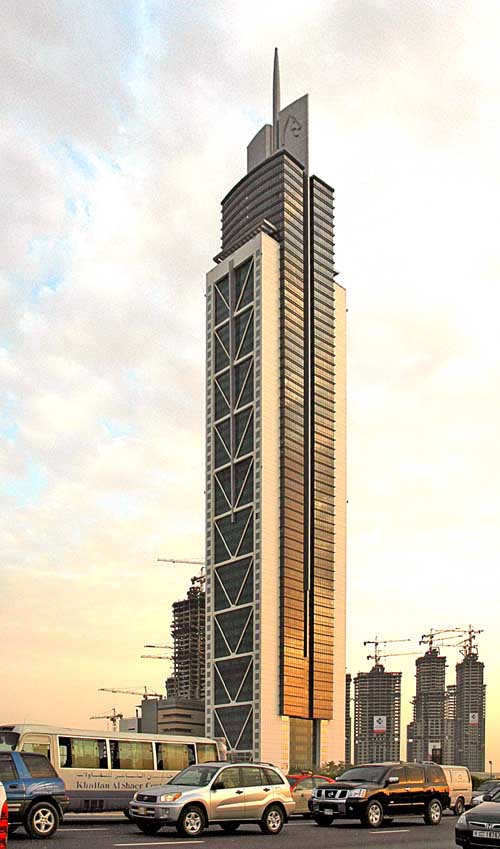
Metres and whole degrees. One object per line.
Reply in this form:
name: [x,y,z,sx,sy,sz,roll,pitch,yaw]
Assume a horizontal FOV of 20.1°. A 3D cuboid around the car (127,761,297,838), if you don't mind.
car: [-0.901,10.068,38.127,1.292,2.003,4.842,-14,-22,41]
